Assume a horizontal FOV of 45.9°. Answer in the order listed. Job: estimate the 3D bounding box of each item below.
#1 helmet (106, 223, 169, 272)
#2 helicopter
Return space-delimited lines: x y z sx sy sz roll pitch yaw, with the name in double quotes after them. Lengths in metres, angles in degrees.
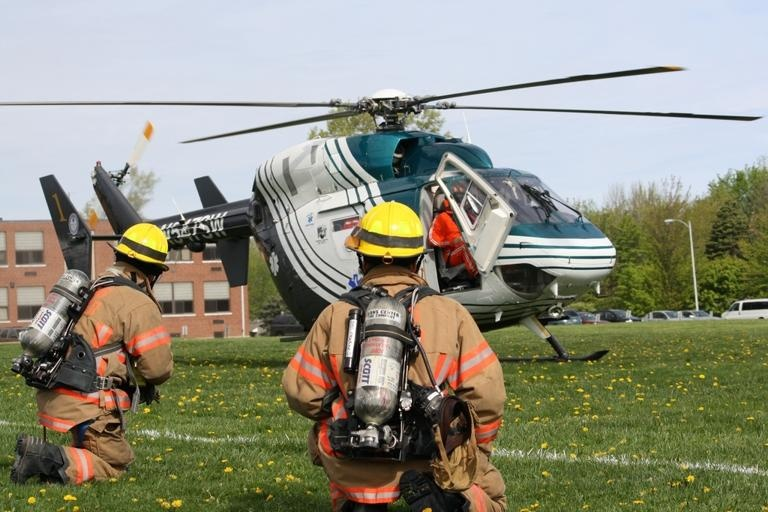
-2.940 -0.121 11.158 0.533 0.416 0.673 22 -4 0 "helmet"
-1.083 -0.867 16.964 8.248 2.868 7.339 -2 2 35 "helicopter"
